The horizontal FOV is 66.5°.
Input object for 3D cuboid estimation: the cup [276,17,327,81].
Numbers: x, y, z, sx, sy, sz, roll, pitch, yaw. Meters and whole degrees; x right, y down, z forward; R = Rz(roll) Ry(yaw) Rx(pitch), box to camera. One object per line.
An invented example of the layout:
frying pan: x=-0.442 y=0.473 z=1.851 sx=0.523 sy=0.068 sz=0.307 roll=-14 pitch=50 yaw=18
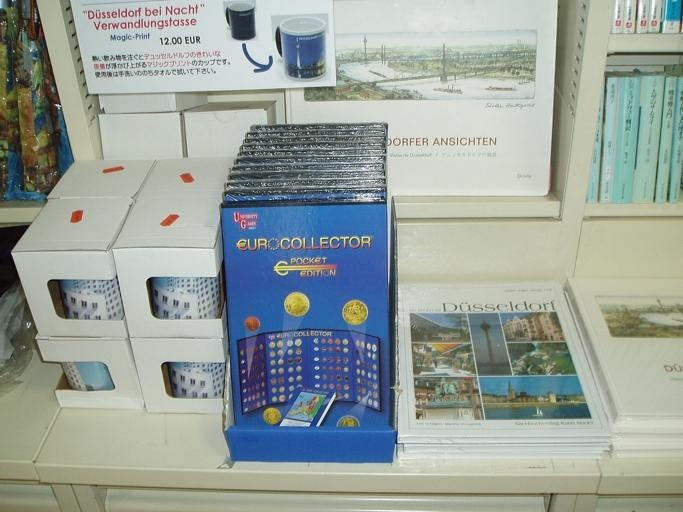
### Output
cup: x=-0.092 y=-0.486 z=1.223 sx=0.109 sy=0.098 sz=0.134 roll=-2 pitch=38 yaw=-2
